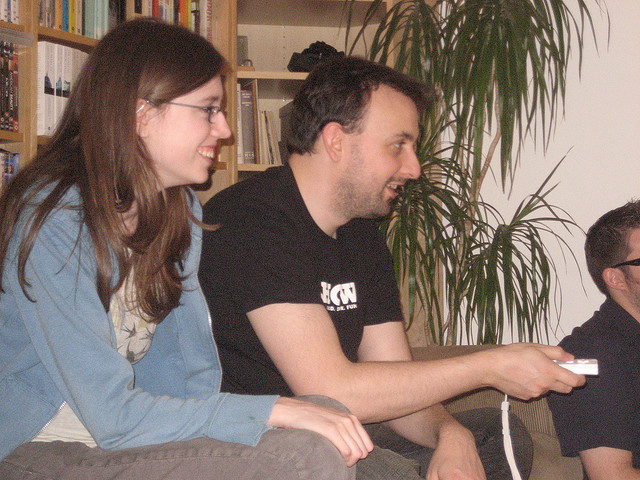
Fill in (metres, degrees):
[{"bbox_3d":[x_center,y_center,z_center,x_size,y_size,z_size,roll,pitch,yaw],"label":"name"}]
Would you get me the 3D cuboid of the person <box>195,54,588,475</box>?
[{"bbox_3d":[0.142,0.133,2.160,1.147,1.309,1.060,-2,-9,13],"label":"person"}]
